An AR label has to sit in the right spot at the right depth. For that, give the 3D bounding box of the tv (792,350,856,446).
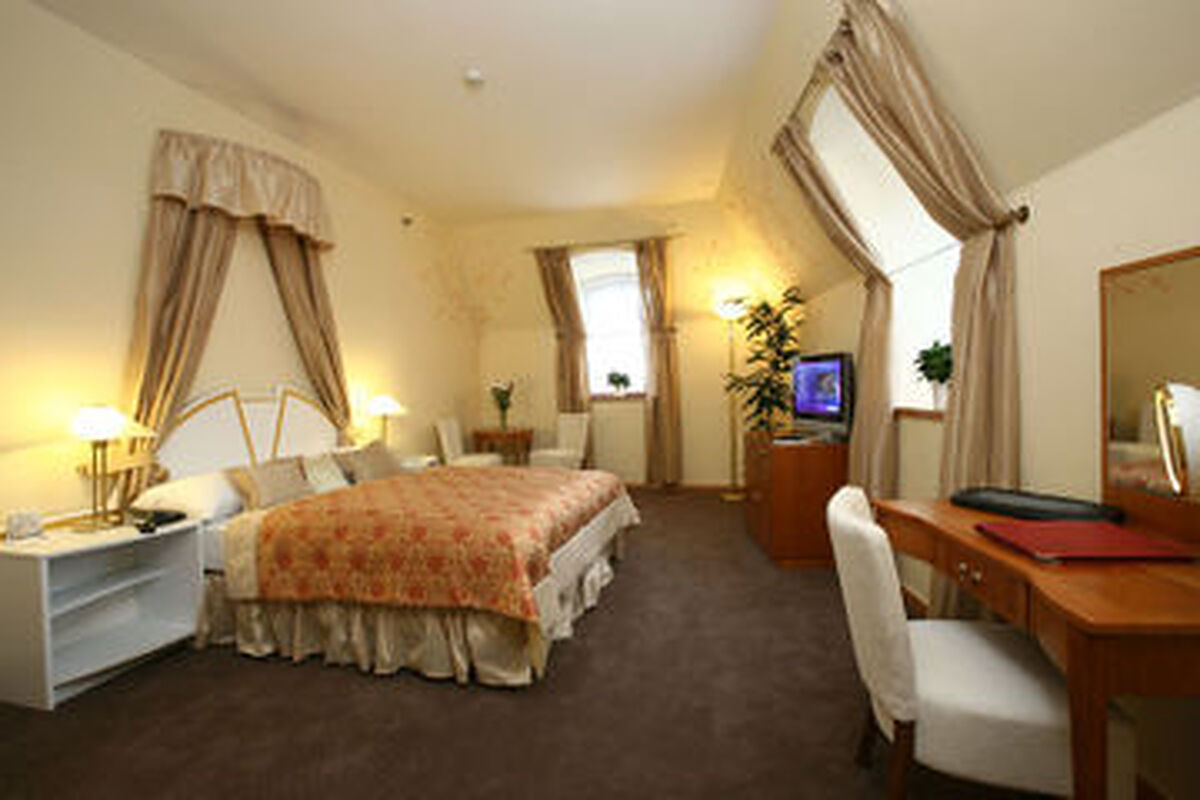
[{"bbox_3d":[1.755,-0.012,6.418,0.125,0.702,0.906,-1,-1,45],"label":"tv"}]

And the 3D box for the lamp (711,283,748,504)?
[{"bbox_3d":[1.438,-0.086,8.534,0.323,2.329,0.720,-2,1,8],"label":"lamp"}]

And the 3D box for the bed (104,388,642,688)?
[{"bbox_3d":[-1.339,0.983,5.403,2.212,1.420,2.002,-1,4,10],"label":"bed"}]

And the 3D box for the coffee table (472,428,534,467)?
[{"bbox_3d":[-1.122,0.487,9.026,0.496,0.593,0.550,0,2,18],"label":"coffee table"}]

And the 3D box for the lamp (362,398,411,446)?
[{"bbox_3d":[-1.949,0.182,7.209,0.402,0.531,0.422,0,5,-1],"label":"lamp"}]

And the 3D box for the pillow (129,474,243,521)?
[{"bbox_3d":[-2.795,0.668,5.239,0.376,0.113,0.369,0,7,9],"label":"pillow"}]

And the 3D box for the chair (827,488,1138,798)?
[{"bbox_3d":[1.786,1.226,4.247,1.353,1.761,1.184,-4,0,15],"label":"chair"}]

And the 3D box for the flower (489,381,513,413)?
[{"bbox_3d":[-1.243,-0.032,9.296,0.306,0.348,0.311,0,0,18],"label":"flower"}]

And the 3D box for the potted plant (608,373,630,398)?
[{"bbox_3d":[0.214,-0.166,9.134,0.272,0.291,0.260,-1,4,-20],"label":"potted plant"}]

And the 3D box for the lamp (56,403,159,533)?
[{"bbox_3d":[-3.234,0.455,4.983,0.537,0.776,0.557,-2,2,16],"label":"lamp"}]

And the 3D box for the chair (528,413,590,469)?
[{"bbox_3d":[-0.452,0.548,8.601,0.450,0.799,0.588,2,1,27],"label":"chair"}]

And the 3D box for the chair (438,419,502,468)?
[{"bbox_3d":[-1.450,0.504,8.455,0.529,0.758,0.504,-1,4,6],"label":"chair"}]

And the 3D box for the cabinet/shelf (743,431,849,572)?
[{"bbox_3d":[1.666,0.812,6.672,0.690,0.952,1.373,-2,1,-2],"label":"cabinet/shelf"}]
